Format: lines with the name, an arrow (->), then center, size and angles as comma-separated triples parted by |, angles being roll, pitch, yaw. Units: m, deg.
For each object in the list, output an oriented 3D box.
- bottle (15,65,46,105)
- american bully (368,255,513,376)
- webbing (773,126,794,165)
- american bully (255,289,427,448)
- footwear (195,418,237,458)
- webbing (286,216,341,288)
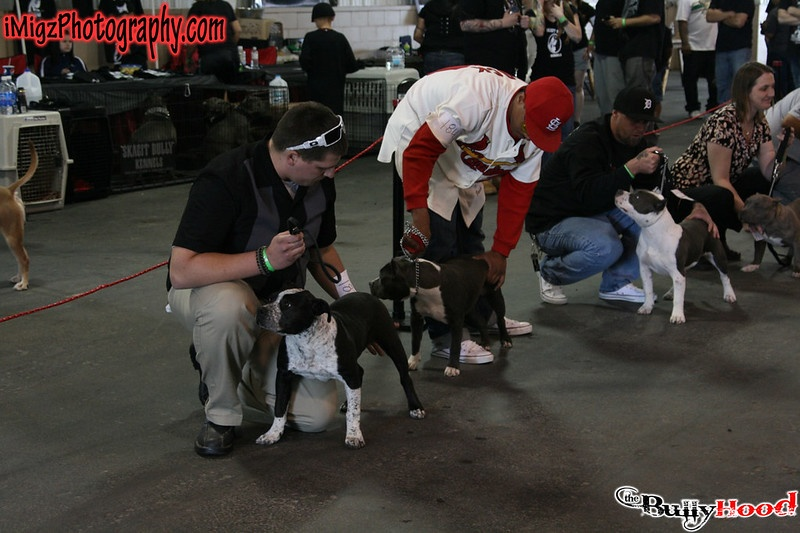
bottle -> -4.109, -1.973, 7.586 | 0.220, 0.373, 0.589 | -5, 18, -10
american bully -> 0.342, 0.248, 4.317 | 1.125, 0.719, 0.381 | -11, 9, -40
webbing -> 3.338, -1.040, 5.964 | 0.068, 0.380, 0.113 | 14, 2, 16
american bully -> -0.312, 0.462, 3.500 | 0.833, 0.856, 0.366 | -14, 21, -34
footwear -> -0.925, 0.862, 3.450 | 0.107, 0.112, 0.245 | 2, 3, -1
webbing -> -0.464, -0.087, 3.605 | 0.247, 0.350, 0.252 | -11, 24, -28
